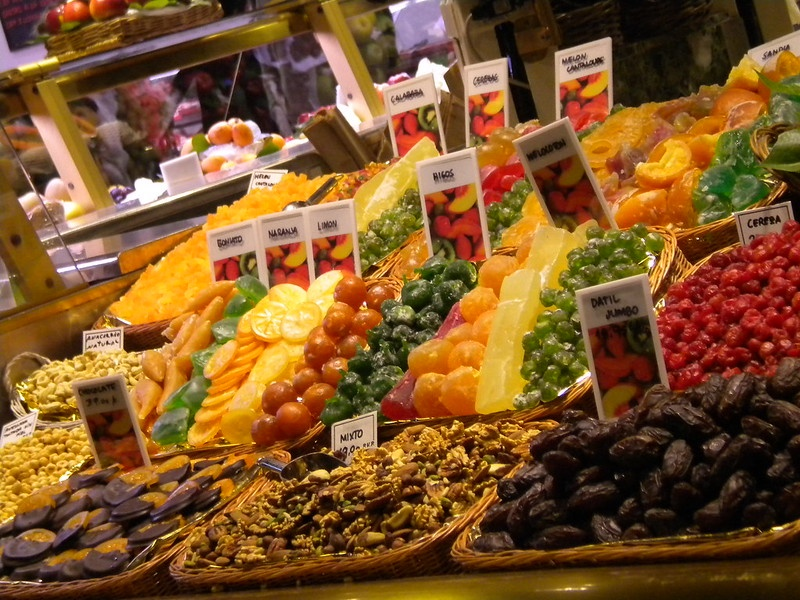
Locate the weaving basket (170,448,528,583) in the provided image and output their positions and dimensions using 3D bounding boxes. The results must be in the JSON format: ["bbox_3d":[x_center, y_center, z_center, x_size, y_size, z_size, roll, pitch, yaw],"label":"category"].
[{"bbox_3d":[-0.206,0.636,1.785,0.703,0.169,0.541,-18,14,35],"label":"weaving basket"}]

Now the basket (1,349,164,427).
[{"bbox_3d":[-1.725,0.426,3.336,0.527,0.223,0.540,2,12,18],"label":"basket"}]

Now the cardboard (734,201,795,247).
[{"bbox_3d":[1.228,-0.255,2.133,0.020,0.185,0.179,3,-7,-41],"label":"cardboard"}]

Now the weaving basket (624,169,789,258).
[{"bbox_3d":[1.151,-0.282,2.314,0.339,0.121,0.339,-24,8,-2],"label":"weaving basket"}]

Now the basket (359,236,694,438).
[{"bbox_3d":[0.540,0.111,2.175,1.305,0.434,0.520,-19,14,-20],"label":"basket"}]

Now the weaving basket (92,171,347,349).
[{"bbox_3d":[-1.102,-0.297,3.863,1.311,0.398,0.927,-41,15,-36],"label":"weaving basket"}]

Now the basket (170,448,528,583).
[{"bbox_3d":[-0.167,0.619,1.789,0.703,0.169,0.541,-18,14,35],"label":"basket"}]

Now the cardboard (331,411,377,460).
[{"bbox_3d":[-0.150,0.463,2.152,0.138,0.118,0.011,-20,-29,31],"label":"cardboard"}]
